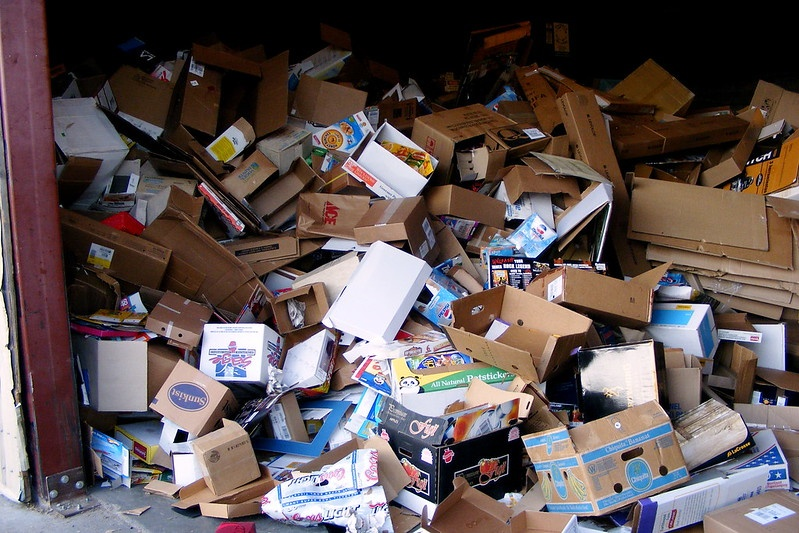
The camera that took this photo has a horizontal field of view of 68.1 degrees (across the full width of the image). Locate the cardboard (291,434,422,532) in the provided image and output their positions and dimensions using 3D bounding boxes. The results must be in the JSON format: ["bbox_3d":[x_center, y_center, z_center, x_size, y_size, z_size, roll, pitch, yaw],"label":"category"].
[{"bbox_3d":[-0.084,1.100,3.171,0.508,0.462,0.180,-30,-5,3],"label":"cardboard"}]
